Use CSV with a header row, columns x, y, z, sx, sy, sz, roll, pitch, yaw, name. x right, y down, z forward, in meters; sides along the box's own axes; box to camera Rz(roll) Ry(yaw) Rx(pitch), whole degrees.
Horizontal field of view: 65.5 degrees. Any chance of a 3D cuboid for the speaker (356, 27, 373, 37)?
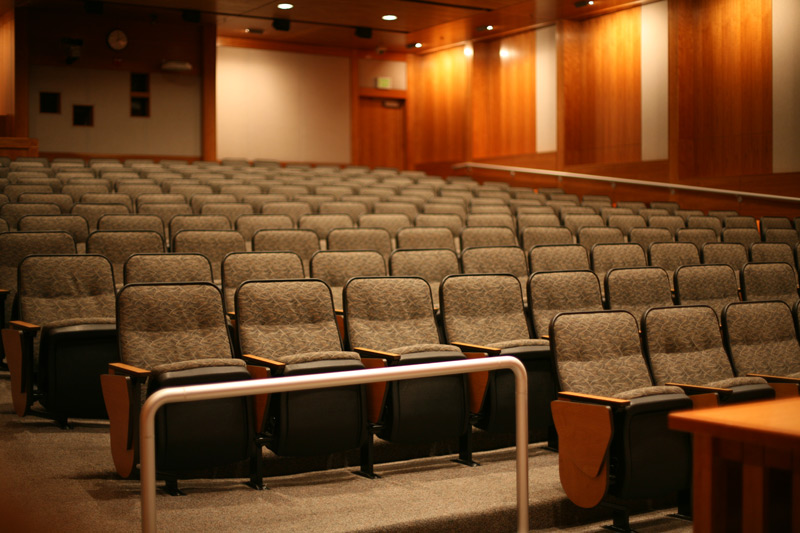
x,y,z,sx,sy,sz,roll,pitch,yaw,name
-0.393,-2.563,6.801,0.168,0.086,0.109,3,31,-5,speaker
